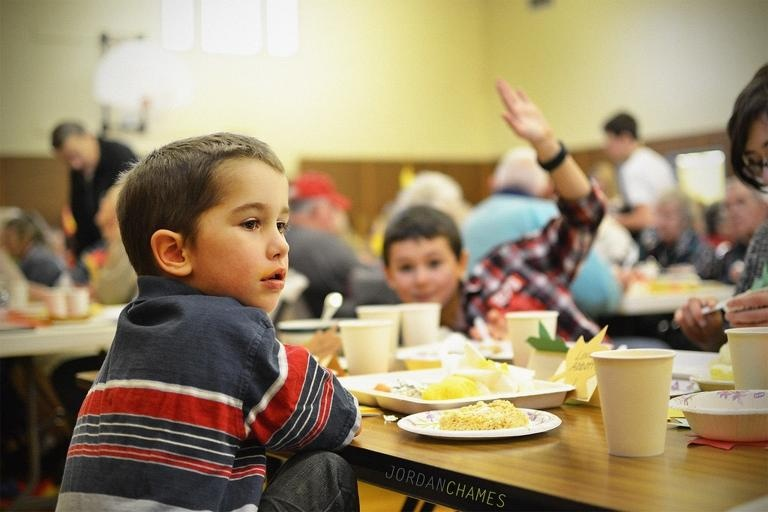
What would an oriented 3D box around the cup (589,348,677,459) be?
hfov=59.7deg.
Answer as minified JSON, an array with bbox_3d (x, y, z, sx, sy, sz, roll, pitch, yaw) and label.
[{"bbox_3d":[0.415,0.233,1.113,0.164,0.176,0.166,1,-6,0],"label":"cup"}]
